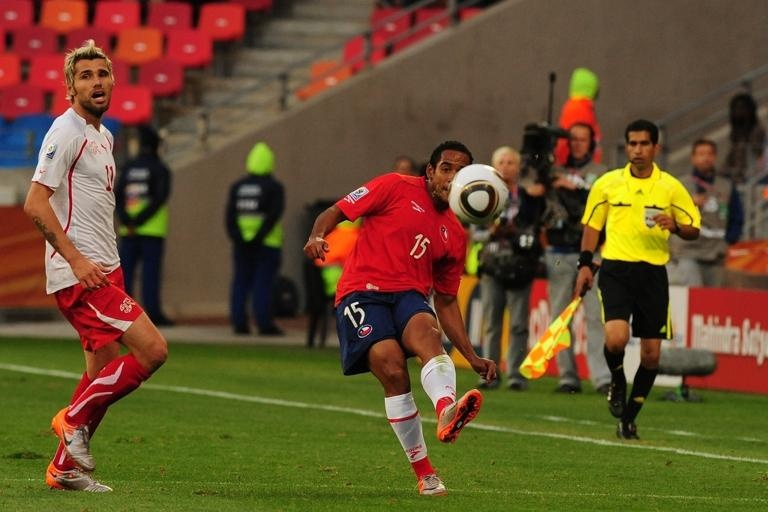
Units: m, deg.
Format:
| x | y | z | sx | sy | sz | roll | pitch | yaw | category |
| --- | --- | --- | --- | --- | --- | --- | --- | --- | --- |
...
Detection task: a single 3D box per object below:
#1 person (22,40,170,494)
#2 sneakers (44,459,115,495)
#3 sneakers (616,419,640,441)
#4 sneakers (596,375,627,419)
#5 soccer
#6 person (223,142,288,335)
| x | y | z | sx | sy | sz | roll | pitch | yaw | category |
| --- | --- | --- | --- | --- | --- | --- | --- | --- | --- |
| -2.314 | 0.034 | 9.625 | 1.037 | 3.564 | 0.502 | 3 | -3 | -12 | person |
| -2.424 | 1.736 | 9.641 | 0.589 | 0.226 | 0.203 | 4 | -3 | 0 | sneakers |
| 2.209 | 1.553 | 11.062 | 0.109 | 0.136 | 0.286 | 1 | 6 | -9 | sneakers |
| 2.151 | 1.301 | 11.297 | 0.142 | 0.423 | 0.174 | -3 | -8 | 11 | sneakers |
| 0.756 | -0.439 | 9.652 | 0.460 | 0.454 | 0.505 | -9 | -1 | -10 | soccer |
| -1.817 | -0.245 | 16.896 | 0.770 | 2.464 | 0.614 | 2 | -3 | 2 | person |
